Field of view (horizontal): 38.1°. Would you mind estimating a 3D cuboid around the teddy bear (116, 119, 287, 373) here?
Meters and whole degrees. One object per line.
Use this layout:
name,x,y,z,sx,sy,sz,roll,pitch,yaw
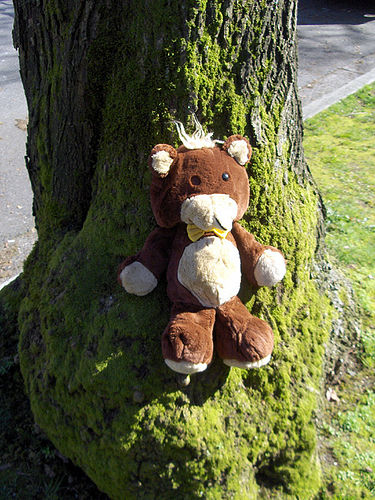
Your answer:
teddy bear,0.114,-0.015,2.511,0.686,0.938,0.774,-12,30,-27
